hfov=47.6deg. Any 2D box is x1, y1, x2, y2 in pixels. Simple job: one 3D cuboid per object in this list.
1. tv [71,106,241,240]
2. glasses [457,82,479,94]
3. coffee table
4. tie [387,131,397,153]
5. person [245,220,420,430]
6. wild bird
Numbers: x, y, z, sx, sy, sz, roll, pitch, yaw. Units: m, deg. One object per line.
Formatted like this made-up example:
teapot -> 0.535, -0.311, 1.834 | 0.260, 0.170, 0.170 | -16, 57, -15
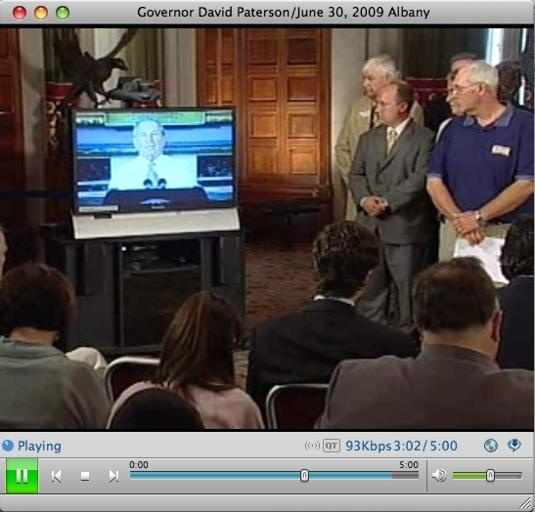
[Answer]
tv -> -0.733, -0.540, 3.784 | 0.859, 0.656, 0.122 | -2, 10, -9
glasses -> 0.900, -0.764, 2.738 | 0.025, 0.039, 0.104 | -8, 12, -30
coffee table -> -0.812, 0.196, 4.257 | 1.215, 0.733, 0.793 | -3, 6, -21
tie -> 0.685, -0.642, 3.369 | 0.030, 0.095, 0.070 | 17, -3, -32
person -> 0.231, 0.278, 1.991 | 0.558, 0.758, 0.395 | 4, 14, 8
wild bird -> -1.156, -1.218, 4.035 | 0.656, 0.402, 0.458 | -15, 4, -12
